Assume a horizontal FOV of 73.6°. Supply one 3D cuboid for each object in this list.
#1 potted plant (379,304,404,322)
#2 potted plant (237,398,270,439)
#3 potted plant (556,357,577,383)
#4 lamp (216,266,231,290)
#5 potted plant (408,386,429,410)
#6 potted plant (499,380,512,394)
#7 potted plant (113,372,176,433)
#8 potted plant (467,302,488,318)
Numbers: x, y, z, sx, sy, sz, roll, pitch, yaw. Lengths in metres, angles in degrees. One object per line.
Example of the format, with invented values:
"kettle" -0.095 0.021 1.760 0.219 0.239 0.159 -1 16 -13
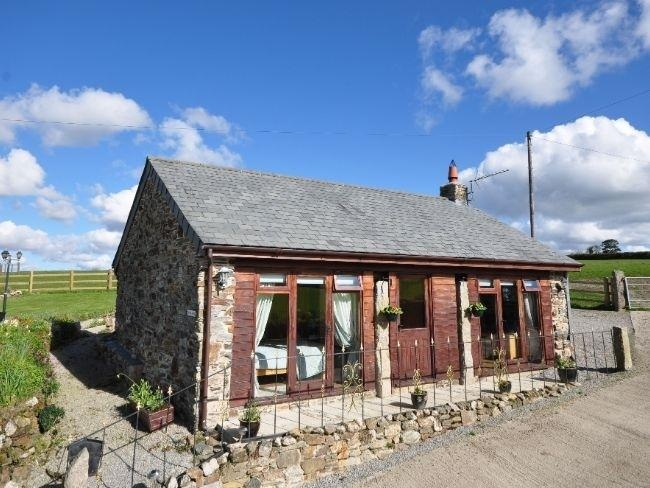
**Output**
"potted plant" 1.953 2.050 12.982 0.506 0.389 0.532 1 -4 -7
"potted plant" -1.834 4.312 10.848 0.565 0.950 0.620 2 1 32
"potted plant" 7.781 4.114 14.196 0.626 0.896 0.674 1 0 20
"lamp" -2.612 0.885 11.367 0.459 0.599 0.203 -6 11 -35
"potted plant" 2.593 4.203 11.947 0.518 0.420 0.537 2 -4 -14
"potted plant" 5.410 4.298 13.128 0.339 0.295 0.330 -2 -8 16
"potted plant" -4.851 4.234 11.841 1.424 1.066 0.888 9 7 38
"potted plant" 4.930 2.141 14.224 0.458 0.368 0.486 2 -3 -23
